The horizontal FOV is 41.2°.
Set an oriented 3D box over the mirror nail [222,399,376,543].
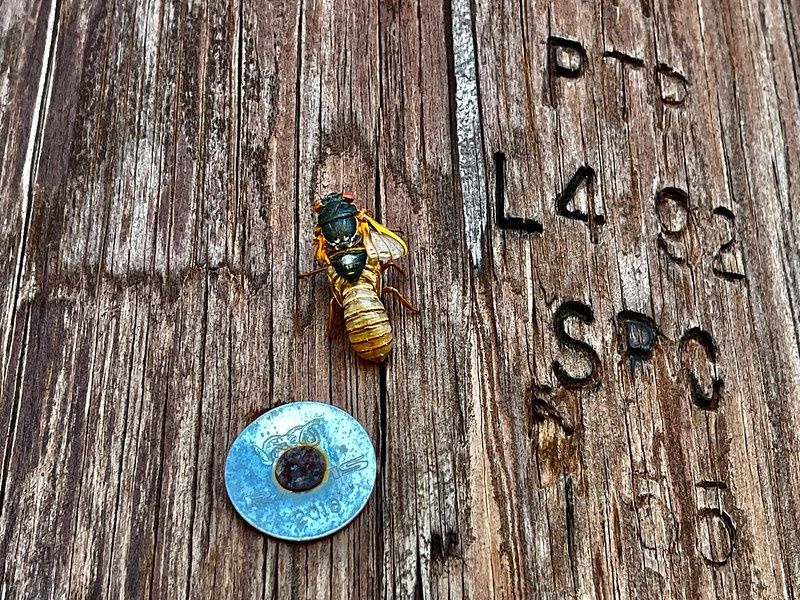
[{"bbox_3d":[-0.343,0.575,3.626,0.516,0.067,0.463,-1,81,-8],"label":"mirror nail"}]
